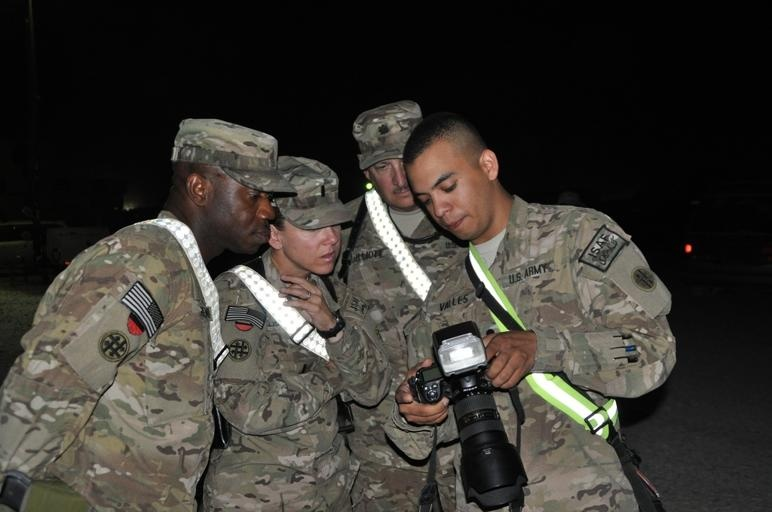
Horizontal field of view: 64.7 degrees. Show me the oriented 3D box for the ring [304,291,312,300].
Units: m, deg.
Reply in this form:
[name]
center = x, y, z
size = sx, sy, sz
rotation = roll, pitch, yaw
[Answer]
[ring]
center = -0.551, 0.277, 4.271
size = 0.043, 0.056, 0.020
rotation = -7, -6, -17
